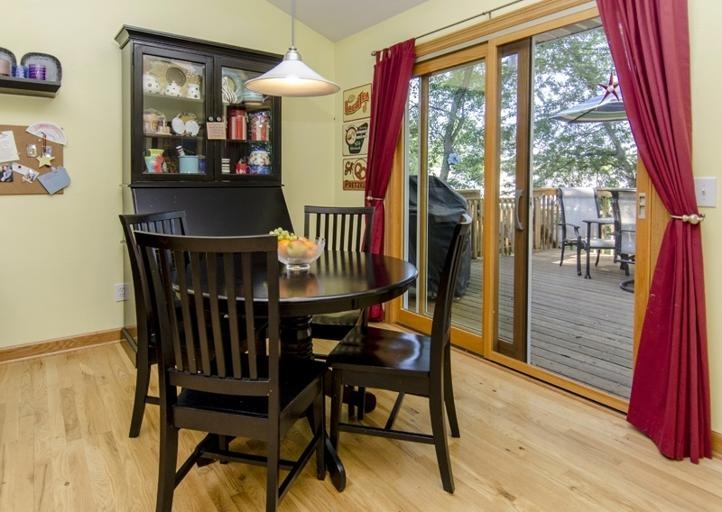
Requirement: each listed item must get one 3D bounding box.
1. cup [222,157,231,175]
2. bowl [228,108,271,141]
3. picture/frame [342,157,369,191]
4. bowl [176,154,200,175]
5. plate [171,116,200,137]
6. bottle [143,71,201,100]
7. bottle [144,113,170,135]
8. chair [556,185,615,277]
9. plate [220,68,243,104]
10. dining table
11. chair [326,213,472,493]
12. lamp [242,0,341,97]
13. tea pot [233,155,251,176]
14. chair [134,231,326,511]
[{"bbox_3d":[-1.082,-0.726,4.251,0.095,0.113,0.098,0,5,0],"label":"cup"},{"bbox_3d":[-0.928,-1.087,4.449,0.365,0.280,0.261,-1,1,-11],"label":"bowl"},{"bbox_3d":[-0.042,-0.760,4.806,0.042,0.275,0.306,-3,14,-35],"label":"picture/frame"},{"bbox_3d":[-1.333,-0.716,4.068,0.139,0.149,0.143,1,10,0],"label":"bowl"},{"bbox_3d":[-1.354,-1.013,4.064,0.212,0.168,0.025,-7,10,-33],"label":"plate"},{"bbox_3d":[-1.423,-1.285,3.971,0.243,0.249,0.089,23,15,-44],"label":"bottle"},{"bbox_3d":[-1.536,-0.992,3.942,0.083,0.160,0.154,13,14,37],"label":"bottle"},{"bbox_3d":[1.439,-0.193,3.653,0.397,0.662,0.466,-2,2,-18],"label":"chair"},{"bbox_3d":[-1.040,-1.357,4.208,0.093,0.234,0.198,4,19,37],"label":"plate"},{"bbox_3d":[-0.176,0.443,2.883,0.972,0.744,1.001,10,14,38],"label":"dining table"},{"bbox_3d":[0.203,0.482,2.807,0.735,1.367,0.490,0,8,11],"label":"chair"},{"bbox_3d":[-0.366,-1.193,3.355,0.473,0.755,0.527,4,10,30],"label":"lamp"},{"bbox_3d":[-0.976,-0.755,4.332,0.090,0.163,0.153,-4,-7,37],"label":"tea pot"},{"bbox_3d":[-0.587,0.508,2.614,0.768,1.325,0.803,1,9,17],"label":"chair"}]
